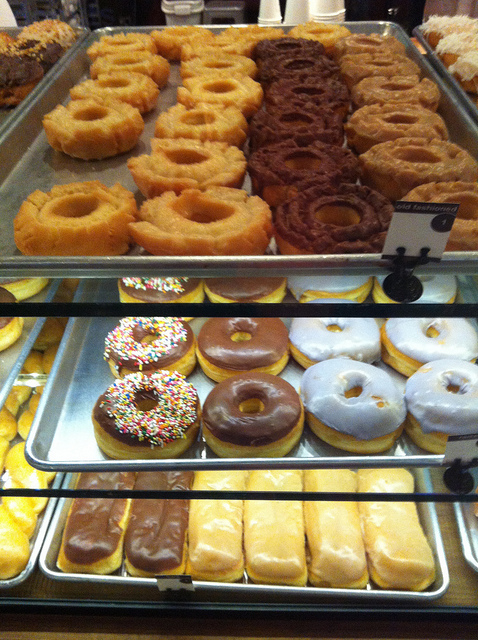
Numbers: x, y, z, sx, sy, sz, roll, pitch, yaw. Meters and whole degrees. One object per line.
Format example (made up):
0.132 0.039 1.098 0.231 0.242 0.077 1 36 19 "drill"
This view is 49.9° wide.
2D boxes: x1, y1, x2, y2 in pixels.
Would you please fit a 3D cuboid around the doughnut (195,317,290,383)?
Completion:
0.025 0.103 1.121 0.157 0.164 0.065 4 63 -34 "doughnut"

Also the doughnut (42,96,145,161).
-0.327 -0.428 1.161 0.180 0.063 0.173 -2 46 -8 "doughnut"

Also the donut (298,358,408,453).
0.243 0.167 1.077 0.224 0.091 0.248 6 32 14 "donut"

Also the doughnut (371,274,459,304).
0.258 -0.045 0.753 0.067 0.019 0.066 -10 34 -12 "doughnut"

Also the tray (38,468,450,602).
-0.015 0.472 1.097 0.718 0.095 0.450 2 47 0 "tray"

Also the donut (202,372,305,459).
0.025 0.194 1.049 0.220 0.208 0.083 -17 30 13 "donut"

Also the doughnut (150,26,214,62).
-0.178 -0.891 1.642 0.149 0.052 0.147 16 33 25 "doughnut"

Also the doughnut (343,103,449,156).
0.359 -0.425 1.143 0.171 0.064 0.184 -3 45 -3 "doughnut"

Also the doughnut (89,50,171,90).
-0.300 -0.681 1.404 0.170 0.054 0.165 0 32 -1 "doughnut"

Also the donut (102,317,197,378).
-0.192 0.058 1.089 0.203 0.116 0.110 -5 40 -2 "donut"

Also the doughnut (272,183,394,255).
0.145 -0.159 0.853 0.196 0.061 0.220 11 41 16 "doughnut"

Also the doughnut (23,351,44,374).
-0.458 0.091 1.133 0.041 0.048 0.018 -1 7 -10 "doughnut"

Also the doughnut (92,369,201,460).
-0.194 0.200 1.083 0.223 0.086 0.230 10 32 -10 "doughnut"

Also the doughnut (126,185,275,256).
-0.061 -0.159 0.851 0.225 0.062 0.214 6 40 10 "doughnut"

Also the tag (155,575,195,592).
-0.149 0.619 1.210 0.102 0.098 0.008 2 49 0 "tag"

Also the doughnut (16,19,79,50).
-0.622 -0.968 1.710 0.162 0.062 0.183 2 36 -3 "doughnut"

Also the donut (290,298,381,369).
0.217 0.034 1.145 0.195 0.076 0.213 -3 33 10 "donut"
